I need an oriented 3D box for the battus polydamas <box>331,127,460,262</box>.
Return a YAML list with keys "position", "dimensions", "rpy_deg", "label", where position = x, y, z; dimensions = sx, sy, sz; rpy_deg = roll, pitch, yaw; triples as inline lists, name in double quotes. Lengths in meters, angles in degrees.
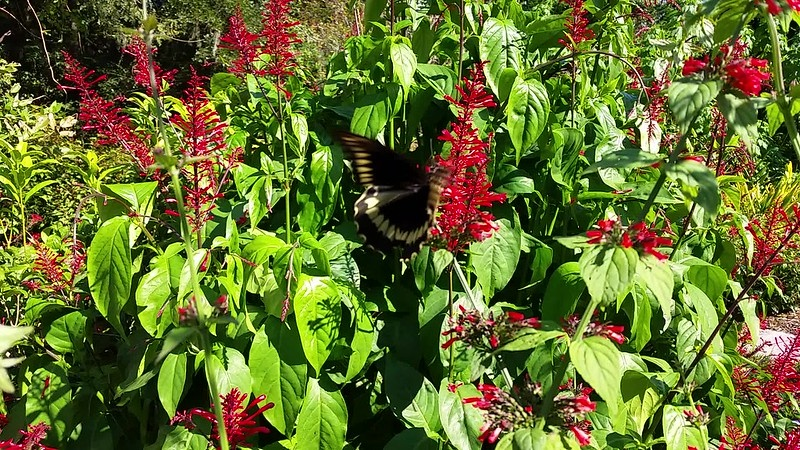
- position: [0.007, -0.148, 3.739]
  dimensions: [0.605, 0.447, 0.641]
  rpy_deg: [-3, 4, -37]
  label: "battus polydamas"
